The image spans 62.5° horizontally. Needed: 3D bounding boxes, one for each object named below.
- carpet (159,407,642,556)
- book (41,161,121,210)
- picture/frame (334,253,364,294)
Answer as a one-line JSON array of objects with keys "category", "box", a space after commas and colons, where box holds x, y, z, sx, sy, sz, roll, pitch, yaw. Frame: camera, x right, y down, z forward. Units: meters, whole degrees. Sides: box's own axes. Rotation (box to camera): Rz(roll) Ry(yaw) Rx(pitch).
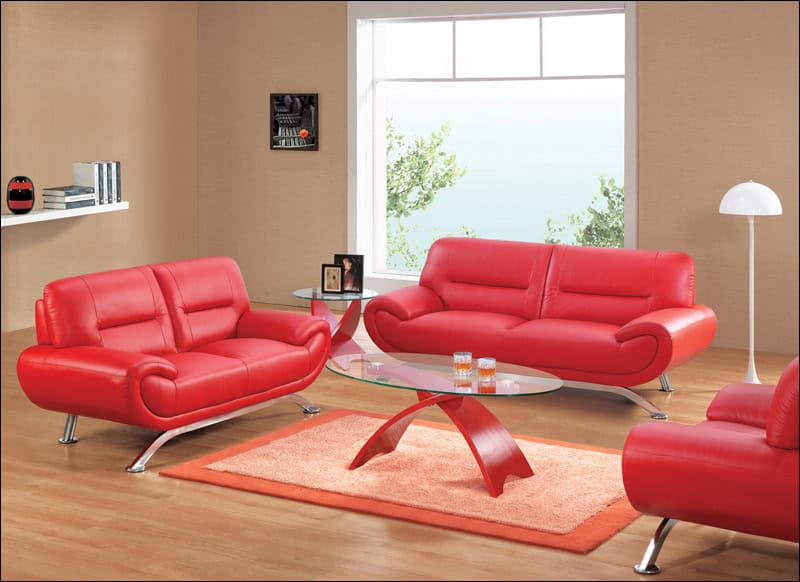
[{"category": "carpet", "box": [0.143, 1.010, 3.741, 2.300, 0.033, 1.189, 3, 9, 23]}, {"category": "book", "box": [-3.175, -1.053, 6.612, 0.412, 0.398, 0.737, 3, 6, 33]}, {"category": "picture/frame", "box": [-0.452, -0.159, 5.918, 0.241, 0.322, 0.184, -2, 10, -8]}]
